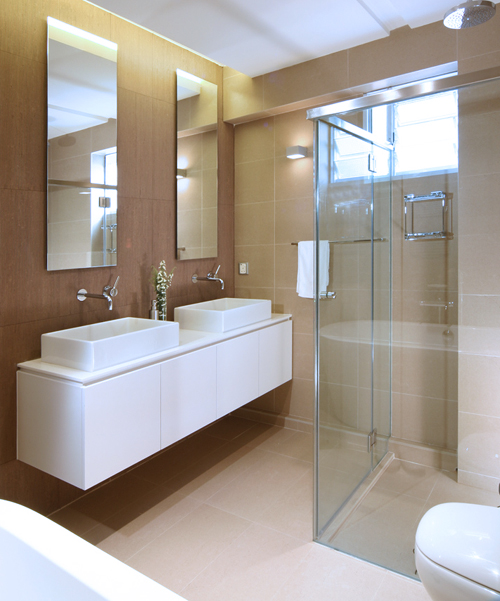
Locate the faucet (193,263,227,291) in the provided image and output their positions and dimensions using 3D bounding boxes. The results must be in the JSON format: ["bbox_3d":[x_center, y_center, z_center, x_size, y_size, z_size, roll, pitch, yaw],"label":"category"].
[{"bbox_3d":[-0.300,-0.165,3.358,0.274,0.220,0.098,0,2,42],"label":"faucet"}]

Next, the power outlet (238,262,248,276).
[{"bbox_3d":[-0.046,-0.229,3.543,0.072,0.133,0.010,1,0,38],"label":"power outlet"}]

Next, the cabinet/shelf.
[{"bbox_3d":[-0.376,0.380,2.484,0.431,0.558,1.465,4,8,40],"label":"cabinet/shelf"}]

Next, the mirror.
[{"bbox_3d":[-0.657,-0.845,2.611,0.016,1.135,1.040,3,9,26],"label":"mirror"}]

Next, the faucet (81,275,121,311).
[{"bbox_3d":[-0.742,-0.047,2.460,0.088,0.164,0.307,0,5,-44],"label":"faucet"}]
